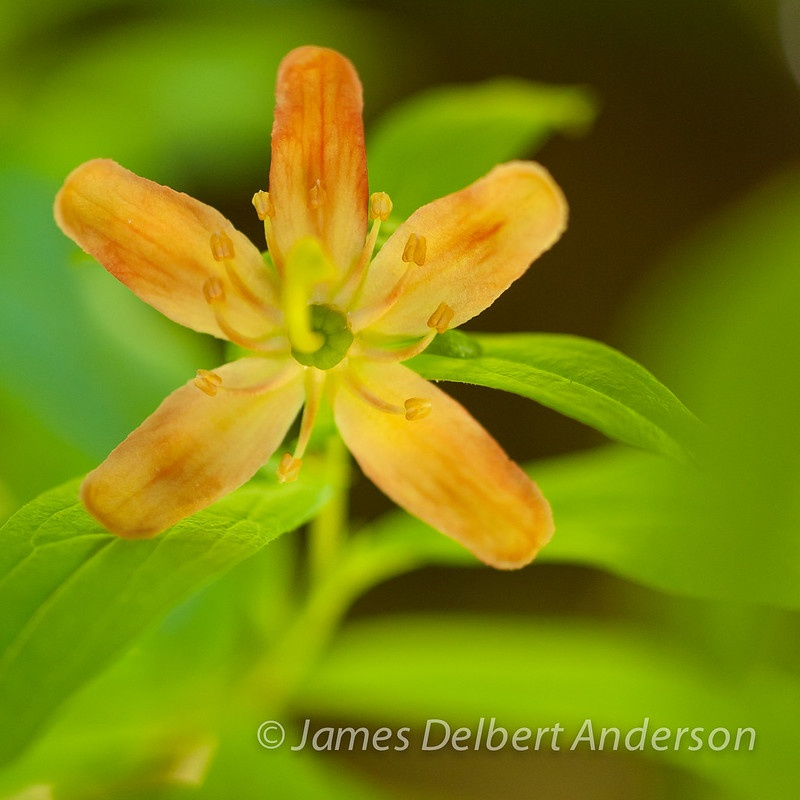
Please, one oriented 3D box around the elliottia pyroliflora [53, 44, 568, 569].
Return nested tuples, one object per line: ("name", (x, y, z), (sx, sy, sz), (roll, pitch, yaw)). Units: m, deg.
("elliottia pyroliflora", (-0.098, -0.100, 1.026), (0.530, 0.344, 0.466), (2, 53, 4))
